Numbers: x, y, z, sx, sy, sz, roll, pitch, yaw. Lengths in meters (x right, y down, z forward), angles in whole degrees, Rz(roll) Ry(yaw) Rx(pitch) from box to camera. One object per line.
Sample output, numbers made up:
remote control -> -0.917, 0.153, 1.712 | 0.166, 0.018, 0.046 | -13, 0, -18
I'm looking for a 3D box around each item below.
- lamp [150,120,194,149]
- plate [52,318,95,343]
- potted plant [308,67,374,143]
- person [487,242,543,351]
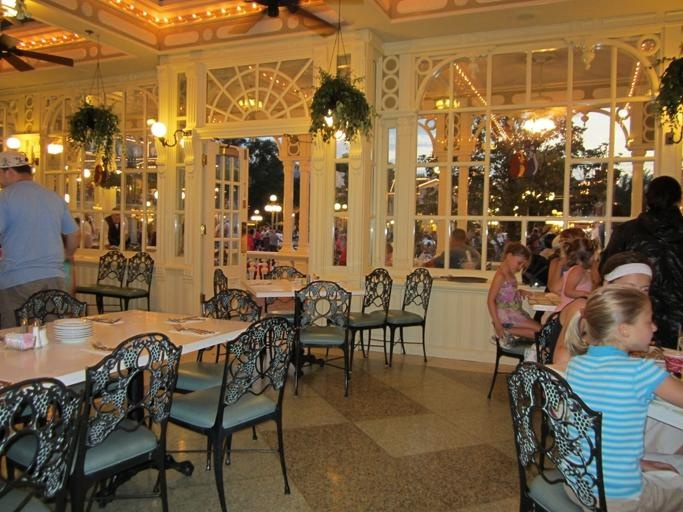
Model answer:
lamp -> -2.447, -1.742, 7.685 | 0.672, 0.339, 0.333 | 2, 7, 7
plate -> -1.681, 0.474, 3.336 | 0.163, 0.078, 0.167 | 5, 4, 41
potted plant -> 0.065, -1.625, 6.080 | 0.780, 0.918, 0.847 | -4, 7, -23
person -> 1.797, 0.498, 5.389 | 0.622, 1.204, 0.539 | 2, 15, 13
